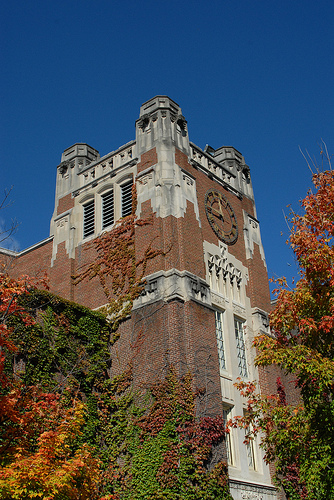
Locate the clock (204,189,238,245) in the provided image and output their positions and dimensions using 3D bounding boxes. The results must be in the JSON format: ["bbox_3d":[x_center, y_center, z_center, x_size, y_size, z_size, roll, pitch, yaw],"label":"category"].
[{"bbox_3d":[2.244,-1.353,29.505,0.148,2.015,2.060,-25,-38,32],"label":"clock"}]
